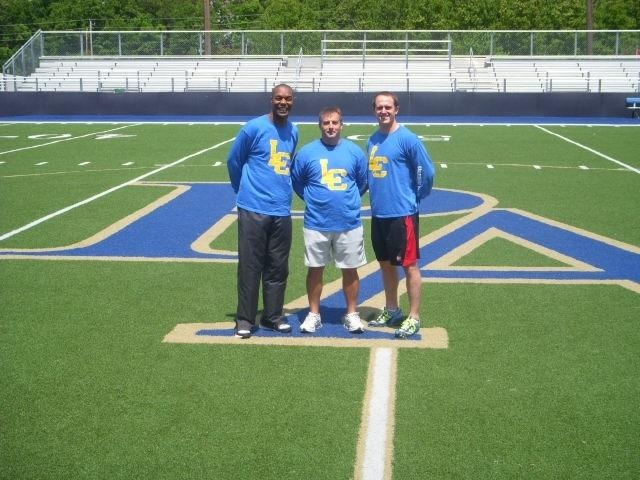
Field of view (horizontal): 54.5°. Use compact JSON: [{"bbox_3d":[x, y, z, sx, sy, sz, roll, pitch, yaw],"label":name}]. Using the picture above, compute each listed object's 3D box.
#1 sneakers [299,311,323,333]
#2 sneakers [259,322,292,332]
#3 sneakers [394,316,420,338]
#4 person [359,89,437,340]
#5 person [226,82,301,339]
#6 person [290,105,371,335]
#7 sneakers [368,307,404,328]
[{"bbox_3d":[-0.084,0.734,5.508,0.103,0.126,0.258,-1,-4,17],"label":"sneakers"},{"bbox_3d":[-0.398,0.758,5.583,0.268,0.114,0.102,0,2,20],"label":"sneakers"},{"bbox_3d":[0.757,0.757,5.366,0.104,0.130,0.277,-3,-7,25],"label":"sneakers"},{"bbox_3d":[0.683,-0.162,5.418,0.572,2.133,0.874,2,24,4],"label":"person"},{"bbox_3d":[-0.484,-0.241,5.368,0.575,2.044,0.809,-1,24,-3],"label":"person"},{"bbox_3d":[0.094,-0.155,5.394,0.676,1.916,0.566,-1,24,-2],"label":"person"},{"bbox_3d":[0.635,0.718,5.772,0.398,0.187,0.133,-6,-6,-22],"label":"sneakers"}]
